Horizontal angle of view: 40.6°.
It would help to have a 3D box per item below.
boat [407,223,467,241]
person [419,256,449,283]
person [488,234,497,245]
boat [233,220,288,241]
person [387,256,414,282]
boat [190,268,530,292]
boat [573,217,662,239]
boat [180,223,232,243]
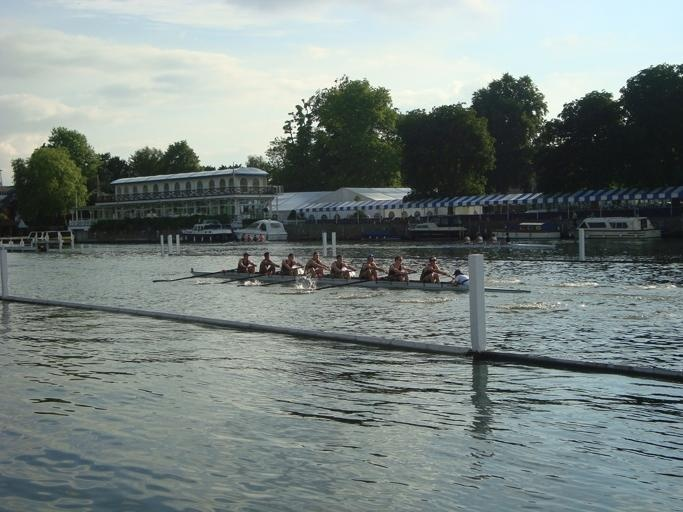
[{"bbox_3d":[8.045,-1.976,75.408,5.803,1.467,1.518,3,3,26],"label":"boat"},{"bbox_3d":[2.922,0.460,30.151,0.649,0.805,0.959,0,-1,3],"label":"person"},{"bbox_3d":[10.915,-1.211,65.755,0.473,0.682,1.213,0,-1,9],"label":"person"},{"bbox_3d":[-7.400,-2.190,80.748,3.478,1.241,2.041,1,4,20],"label":"boat"},{"bbox_3d":[1.936,0.438,31.628,0.686,0.864,1.940,0,-1,4],"label":"person"},{"bbox_3d":[-0.006,0.856,32.232,13.937,0.671,1.293,-1,-1,40],"label":"boat"},{"bbox_3d":[19.872,-1.987,65.593,1.007,1.608,5.671,0,-1,-38],"label":"boat"},{"bbox_3d":[-12.776,-2.086,86.347,4.341,1.352,2.100,0,1,18],"label":"boat"}]
